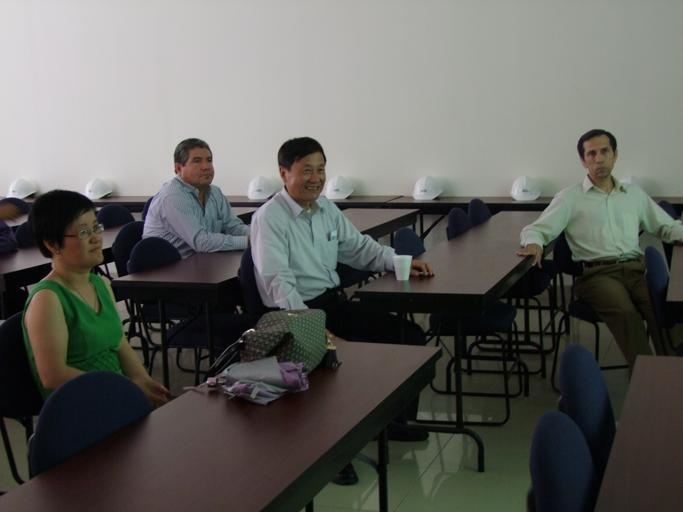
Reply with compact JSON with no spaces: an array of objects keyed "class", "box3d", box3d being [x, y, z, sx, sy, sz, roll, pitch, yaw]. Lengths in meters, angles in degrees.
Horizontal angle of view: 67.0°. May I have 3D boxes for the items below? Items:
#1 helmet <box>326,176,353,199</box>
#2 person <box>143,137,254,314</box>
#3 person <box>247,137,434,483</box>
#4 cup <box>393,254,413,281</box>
[{"class":"helmet","box3d":[-0.024,-0.792,5.989,0.200,0.179,0.314,1,22,3]},{"class":"person","box3d":[-1.075,-0.255,3.982,0.820,1.209,0.678,0,4,40]},{"class":"person","box3d":[-0.041,0.254,2.773,0.833,1.911,1.137,-5,2,24]},{"class":"cup","box3d":[0.314,0.052,2.604,0.098,0.134,0.113,1,7,14]}]
